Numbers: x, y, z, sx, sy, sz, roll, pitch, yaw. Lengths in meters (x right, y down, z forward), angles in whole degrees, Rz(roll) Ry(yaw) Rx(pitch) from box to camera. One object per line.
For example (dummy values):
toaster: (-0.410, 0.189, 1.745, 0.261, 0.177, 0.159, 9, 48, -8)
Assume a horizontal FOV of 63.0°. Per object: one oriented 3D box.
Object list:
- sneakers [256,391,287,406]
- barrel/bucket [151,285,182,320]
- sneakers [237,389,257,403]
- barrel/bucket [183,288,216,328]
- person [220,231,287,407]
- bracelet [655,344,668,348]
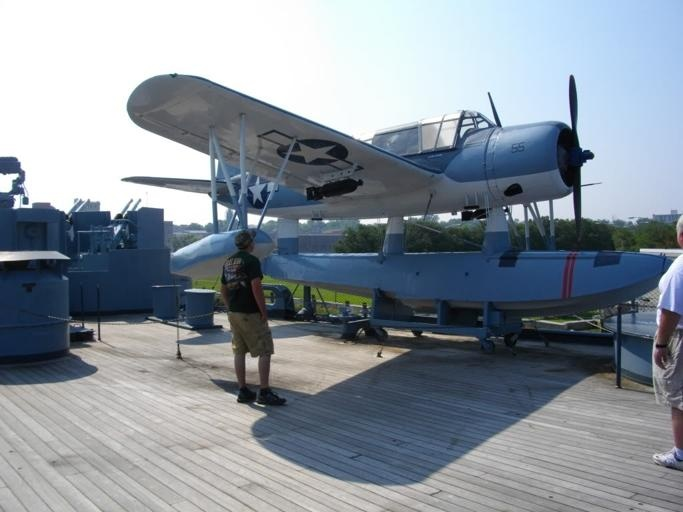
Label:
sneakers: (-0.937, 1.920, 7.543, 0.444, 0.239, 0.159, -1, 1, -6)
barrel/bucket: (-4.771, 1.273, 15.205, 1.149, 0.929, 0.907, 2, 7, -2)
sneakers: (-1.295, 1.930, 7.674, 0.129, 0.137, 0.345, 2, 3, 39)
barrel/bucket: (-3.677, 1.318, 13.979, 1.131, 0.923, 1.063, 0, -4, 0)
person: (-1.223, 0.832, 7.609, 0.765, 2.353, 0.786, -1, 5, -17)
bracelet: (3.241, 0.919, 5.672, 0.101, 0.053, 0.062, 2, 5, 26)
